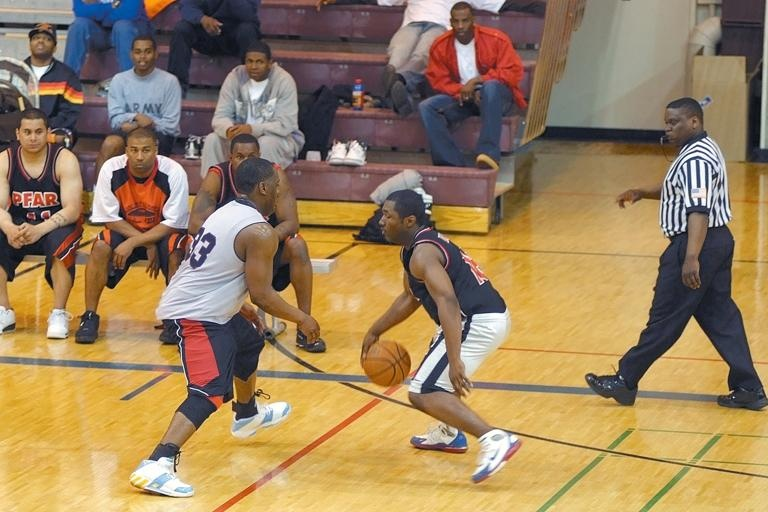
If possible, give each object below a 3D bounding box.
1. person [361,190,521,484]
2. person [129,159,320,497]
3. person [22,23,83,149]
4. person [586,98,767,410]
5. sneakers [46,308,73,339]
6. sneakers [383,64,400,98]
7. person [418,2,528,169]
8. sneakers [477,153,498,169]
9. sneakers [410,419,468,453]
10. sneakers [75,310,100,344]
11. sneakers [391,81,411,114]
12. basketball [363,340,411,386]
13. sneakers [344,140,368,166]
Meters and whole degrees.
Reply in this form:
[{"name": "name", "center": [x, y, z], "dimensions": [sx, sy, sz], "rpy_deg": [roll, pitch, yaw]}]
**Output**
[{"name": "person", "center": [0.328, 0.380, 4.063], "dimensions": [0.911, 1.376, 0.461], "rpy_deg": [12, 17, 36]}, {"name": "person", "center": [-0.843, 0.307, 4.056], "dimensions": [0.963, 1.566, 0.549], "rpy_deg": [-9, 18, -39]}, {"name": "person", "center": [-3.172, -1.595, 7.599], "dimensions": [0.856, 1.085, 0.716], "rpy_deg": [-2, 19, -24]}, {"name": "person", "center": [1.703, 0.016, 4.621], "dimensions": [0.972, 1.756, 0.509], "rpy_deg": [6, 14, 13]}, {"name": "sneakers", "center": [-2.244, 0.473, 5.691], "dimensions": [0.129, 0.191, 0.131], "rpy_deg": [-1, 14, -13]}, {"name": "sneakers", "center": [0.059, -1.782, 8.339], "dimensions": [0.116, 0.333, 0.138], "rpy_deg": [17, 13, 23]}, {"name": "person", "center": [0.855, -1.643, 8.020], "dimensions": [0.973, 1.587, 0.650], "rpy_deg": [4, 14, 8]}, {"name": "sneakers", "center": [0.980, -0.909, 7.920], "dimensions": [0.207, 0.156, 0.146], "rpy_deg": [3, 13, 2]}, {"name": "sneakers", "center": [0.302, 0.951, 4.380], "dimensions": [0.314, 0.180, 0.125], "rpy_deg": [6, 3, 8]}, {"name": "sneakers", "center": [-2.035, 0.490, 5.666], "dimensions": [0.153, 0.200, 0.187], "rpy_deg": [-3, 14, -20]}, {"name": "sneakers", "center": [0.162, -1.576, 8.296], "dimensions": [0.145, 0.374, 0.162], "rpy_deg": [-22, 24, -24]}, {"name": "basketball", "center": [0.015, 0.513, 4.128], "dimensions": [0.223, 0.211, 0.231], "rpy_deg": [8, 6, 39]}, {"name": "sneakers", "center": [-0.284, -1.001, 8.091], "dimensions": [0.180, 0.225, 0.216], "rpy_deg": [4, 13, 8]}]
